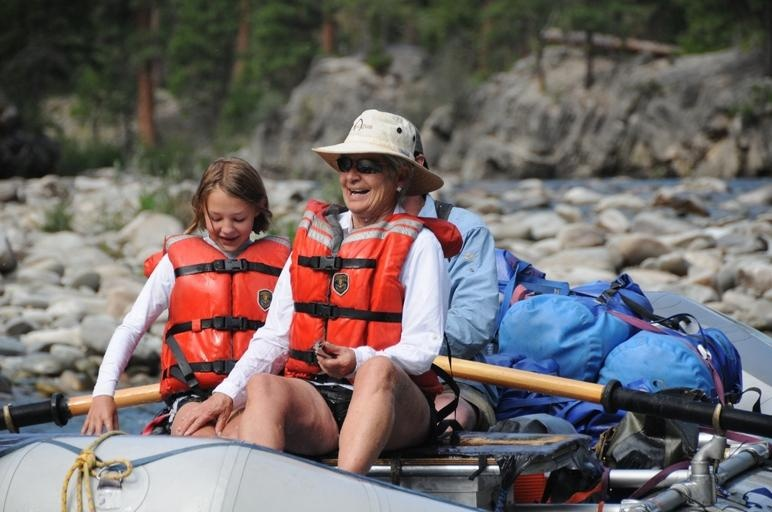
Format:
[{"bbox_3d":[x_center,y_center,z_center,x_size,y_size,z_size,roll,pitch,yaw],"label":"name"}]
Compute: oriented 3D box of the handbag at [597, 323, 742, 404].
[{"bbox_3d":[3.178,1.186,19.188,0.959,0.980,1.066,-18,-2,35],"label":"handbag"}]
